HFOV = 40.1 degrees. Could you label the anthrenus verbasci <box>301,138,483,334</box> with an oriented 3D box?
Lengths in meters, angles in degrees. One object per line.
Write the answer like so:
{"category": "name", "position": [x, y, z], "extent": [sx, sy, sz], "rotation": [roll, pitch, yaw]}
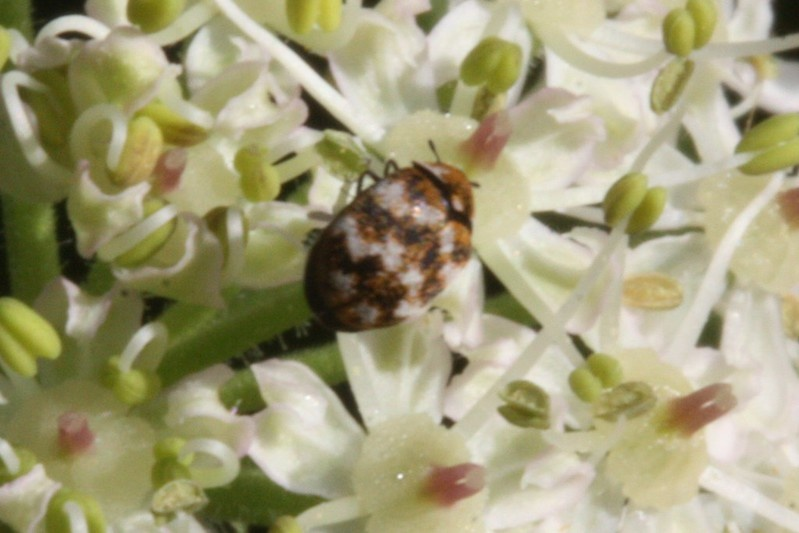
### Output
{"category": "anthrenus verbasci", "position": [-0.003, -0.016, 0.850], "extent": [0.095, 0.043, 0.159], "rotation": [44, 78, 7]}
